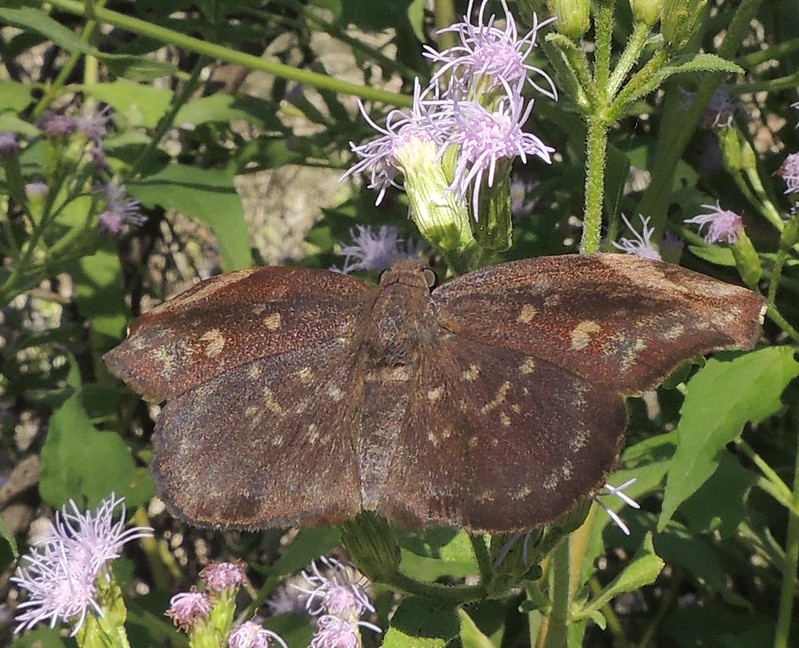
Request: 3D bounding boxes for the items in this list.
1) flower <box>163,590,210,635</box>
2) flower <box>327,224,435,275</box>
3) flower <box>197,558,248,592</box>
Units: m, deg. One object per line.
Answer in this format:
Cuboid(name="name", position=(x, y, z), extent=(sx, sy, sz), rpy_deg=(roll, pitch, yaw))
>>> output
Cuboid(name="flower", position=(-0.442, 0.603, 2.277), extent=(0.082, 0.082, 0.079), rpy_deg=(21, -6, 5))
Cuboid(name="flower", position=(-0.062, -0.178, 2.675), extent=(0.175, 0.088, 0.171), rpy_deg=(-26, 31, -20))
Cuboid(name="flower", position=(-0.386, 0.552, 2.364), extent=(0.105, 0.062, 0.146), rpy_deg=(-7, -8, 2))
